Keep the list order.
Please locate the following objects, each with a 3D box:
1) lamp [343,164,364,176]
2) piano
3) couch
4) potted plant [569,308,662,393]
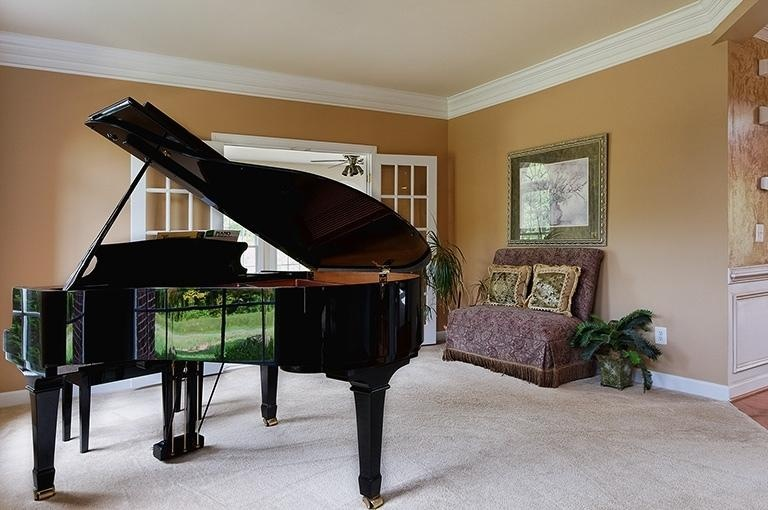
[{"bbox_3d":[-0.466,-1.182,7.603,0.205,0.109,0.215,0,0,-14],"label":"lamp"},{"bbox_3d":[-1.431,0.252,4.780,3.237,2.982,3.174,1,2,-30],"label":"piano"},{"bbox_3d":[1.560,0.557,6.219,1.459,1.251,1.160,3,10,45],"label":"couch"},{"bbox_3d":[2.495,1.012,5.698,0.797,0.749,0.858,-6,-13,39],"label":"potted plant"}]
